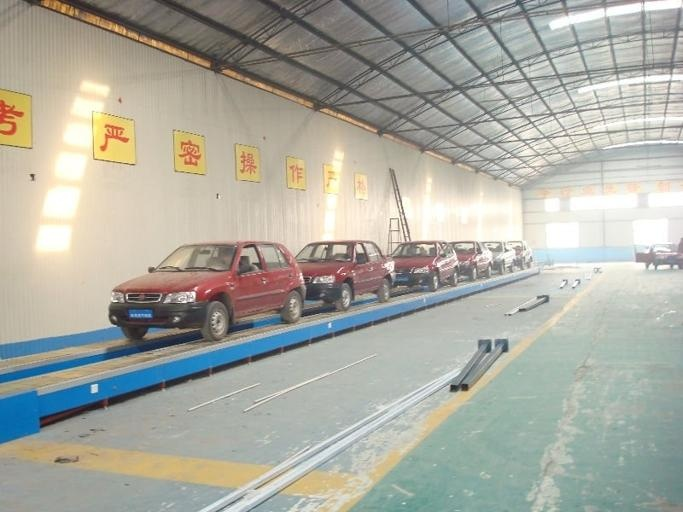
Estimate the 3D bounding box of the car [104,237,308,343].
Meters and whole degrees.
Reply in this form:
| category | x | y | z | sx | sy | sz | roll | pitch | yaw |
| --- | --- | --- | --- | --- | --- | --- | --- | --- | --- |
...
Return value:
| category | x | y | z | sx | sy | sz | roll | pitch | yaw |
| --- | --- | --- | --- | --- | --- | --- | --- | --- | --- |
| car | -2.370 | 0.543 | 8.547 | 2.096 | 1.077 | 3.122 | -1 | -2 | 26 |

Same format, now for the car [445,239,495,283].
| category | x | y | z | sx | sy | sz | roll | pitch | yaw |
| --- | --- | --- | --- | --- | --- | --- | --- | --- | --- |
| car | 5.294 | -0.057 | 20.408 | 1.986 | 1.206 | 3.556 | 10 | 13 | 26 |

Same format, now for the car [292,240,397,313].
| category | x | y | z | sx | sy | sz | roll | pitch | yaw |
| --- | --- | --- | --- | --- | --- | --- | --- | --- | --- |
| car | -0.061 | 0.391 | 11.845 | 1.749 | 0.945 | 2.674 | -1 | -1 | 31 |

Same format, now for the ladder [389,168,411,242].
| category | x | y | z | sx | sy | sz | roll | pitch | yaw |
| --- | --- | --- | --- | --- | --- | --- | --- | --- | --- |
| ladder | 2.818 | -2.389 | 21.782 | 0.458 | 3.382 | 1.624 | -4 | 0 | 22 |

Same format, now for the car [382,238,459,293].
| category | x | y | z | sx | sy | sz | roll | pitch | yaw |
| --- | --- | --- | --- | --- | --- | --- | --- | --- | --- |
| car | 2.721 | 0.230 | 16.264 | 2.066 | 1.312 | 3.534 | 4 | 7 | 26 |
